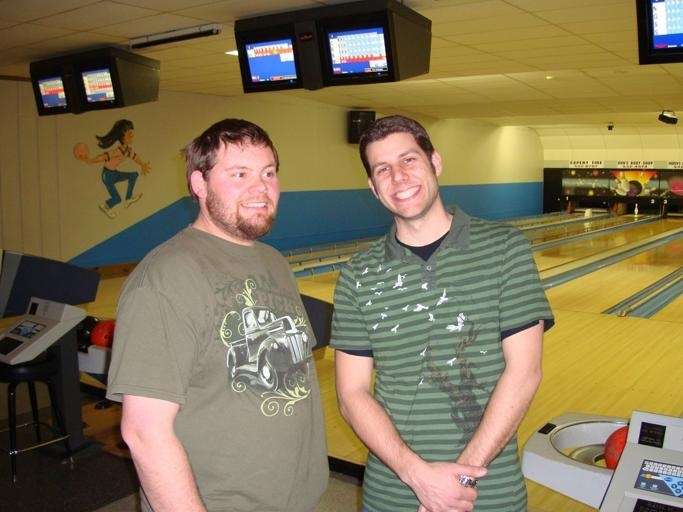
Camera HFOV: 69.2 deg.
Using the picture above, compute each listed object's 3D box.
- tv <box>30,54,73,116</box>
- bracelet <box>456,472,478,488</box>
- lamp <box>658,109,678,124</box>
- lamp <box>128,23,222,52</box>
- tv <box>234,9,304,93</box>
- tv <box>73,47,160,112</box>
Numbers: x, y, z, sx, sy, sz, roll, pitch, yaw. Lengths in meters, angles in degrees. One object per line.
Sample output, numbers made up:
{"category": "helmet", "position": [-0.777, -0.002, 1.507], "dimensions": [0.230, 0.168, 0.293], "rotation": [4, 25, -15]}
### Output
{"category": "tv", "position": [-2.502, -1.433, 4.257], "dimensions": [0.556, 0.483, 0.128], "rotation": [0, 14, 23]}
{"category": "bracelet", "position": [0.284, 0.507, 1.113], "dimensions": [0.034, 0.019, 0.037], "rotation": [12, -5, -11]}
{"category": "lamp", "position": [5.258, -2.248, 7.941], "dimensions": [0.208, 0.230, 0.940], "rotation": [5, 12, 35]}
{"category": "lamp", "position": [-1.348, -1.682, 3.815], "dimensions": [0.970, 0.089, 0.154], "rotation": [3, 11, 25]}
{"category": "tv", "position": [-0.470, -1.348, 3.222], "dimensions": [0.546, 0.538, 0.172], "rotation": [0, 15, 30]}
{"category": "tv", "position": [-1.840, -1.397, 4.111], "dimensions": [0.646, 0.452, 0.533], "rotation": [0, -2, 31]}
